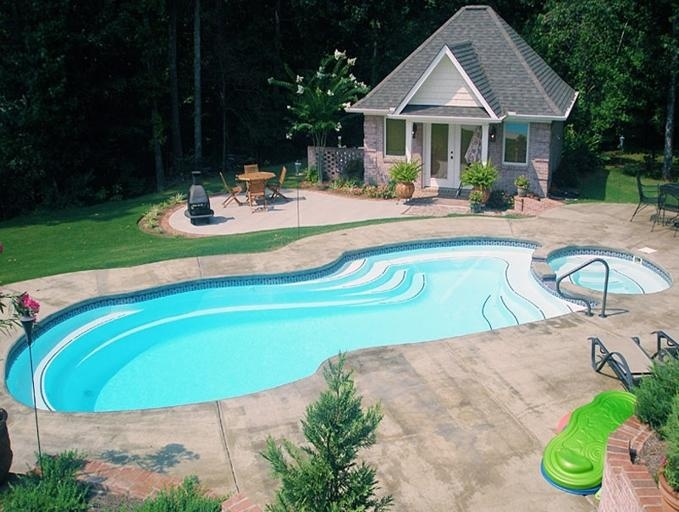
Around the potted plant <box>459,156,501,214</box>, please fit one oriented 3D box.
[{"bbox_3d":[6.016,-3.084,25.790,1.647,2.512,1.999,4,19,12],"label":"potted plant"}]

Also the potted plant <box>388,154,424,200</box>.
[{"bbox_3d":[3.032,-3.473,26.751,1.272,1.699,1.454,-1,7,25],"label":"potted plant"}]

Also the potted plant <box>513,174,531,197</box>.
[{"bbox_3d":[7.797,-2.970,25.675,0.613,0.881,1.136,1,11,16],"label":"potted plant"}]
